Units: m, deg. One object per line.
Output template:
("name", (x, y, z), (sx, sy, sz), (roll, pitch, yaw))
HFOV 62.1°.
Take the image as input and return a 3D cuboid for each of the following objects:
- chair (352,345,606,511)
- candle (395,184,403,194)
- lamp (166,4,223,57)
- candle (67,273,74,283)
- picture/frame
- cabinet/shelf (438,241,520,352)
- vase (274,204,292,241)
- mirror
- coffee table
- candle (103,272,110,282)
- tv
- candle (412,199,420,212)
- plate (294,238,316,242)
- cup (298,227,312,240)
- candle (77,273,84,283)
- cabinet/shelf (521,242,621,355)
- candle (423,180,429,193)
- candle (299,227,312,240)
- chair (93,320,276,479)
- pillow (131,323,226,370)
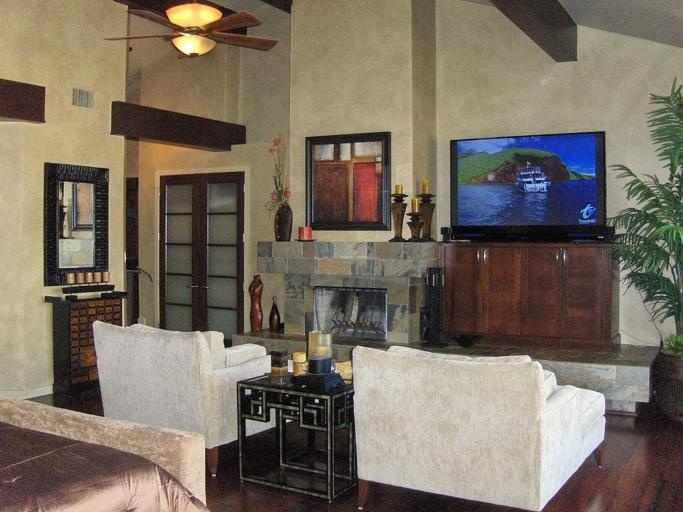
("chair", (0.617, 0.947, 3.139), (1.076, 0.668, 1.087), (0, 1, 27))
("candle", (0.646, -0.731, 6.206), (0.095, 0.104, 0.093), (-1, 3, -40))
("lamp", (-1.109, -1.699, 4.225), (0.404, 0.292, 0.399), (0, 5, -12))
("candle", (-2.863, 0.239, 6.006), (0.086, 0.109, 0.028), (-2, 4, -29))
("picture/frame", (0.115, -0.883, 6.578), (1.217, 1.252, 0.093), (0, 1, 20))
("cabinet/shelf", (1.611, 0.352, 6.350), (0.884, 0.990, 0.376), (0, 2, 30))
("vase", (-0.685, -0.399, 6.745), (0.200, 0.451, 0.154), (-1, 4, -11))
("mirror", (-2.841, -0.344, 6.121), (0.078, 1.249, 0.708), (2, 4, 33))
("coffee table", (-0.254, 1.186, 3.896), (0.720, 0.631, 0.573), (-2, -8, 27))
("candle", (-2.627, 0.232, 6.331), (0.093, 0.103, 0.091), (-2, 6, -29))
("tv", (2.105, -0.756, 6.242), (1.320, 0.915, 0.056), (0, 2, 26))
("candle", (0.812, -0.558, 6.265), (0.088, 0.162, 0.053), (-1, 4, -18))
("plate", (-0.430, -0.185, 6.697), (0.274, 0.023, 0.262), (0, 3, -2))
("cup", (-0.425, -0.263, 6.661), (0.157, 0.143, 0.136), (1, 0, -17))
("candle", (-2.794, 0.238, 6.083), (0.041, 0.115, 0.097), (1, 4, 21))
("cabinet/shelf", (2.406, 0.500, 6.111), (0.954, 1.136, 0.747), (-5, -26, 34))
("candle", (0.928, -0.767, 6.373), (0.069, 0.164, 0.182), (0, 3, -1))
("candle", (-0.428, -0.261, 6.661), (0.151, 0.139, 0.132), (1, 0, -12))
("chair", (-1.105, 0.926, 4.318), (1.062, 0.930, 1.096), (0, 2, 26))
("pillow", (-1.034, 0.622, 3.933), (0.427, 0.265, 0.421), (2, 2, 4))
